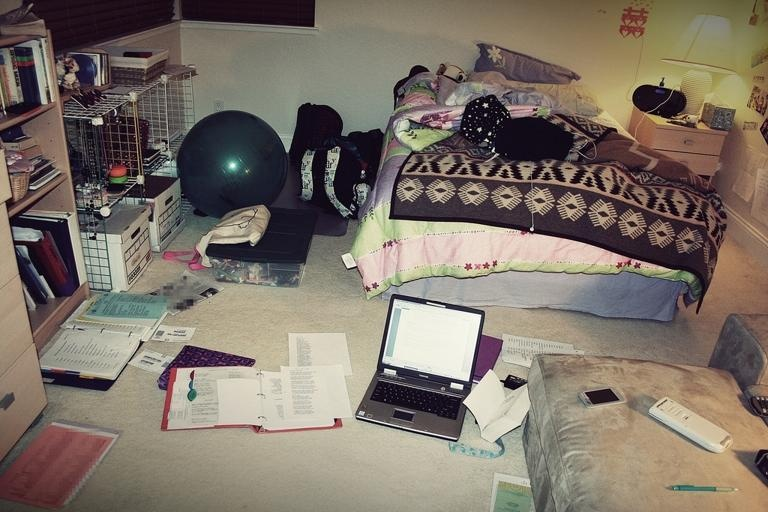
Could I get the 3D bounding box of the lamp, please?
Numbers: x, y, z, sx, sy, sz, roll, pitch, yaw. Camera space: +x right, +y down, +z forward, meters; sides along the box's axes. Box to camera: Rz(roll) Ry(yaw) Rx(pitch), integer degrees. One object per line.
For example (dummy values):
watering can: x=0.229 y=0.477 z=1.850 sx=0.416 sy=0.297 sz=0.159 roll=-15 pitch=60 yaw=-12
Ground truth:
lamp: x=3.047 y=-1.785 z=5.218 sx=0.662 sy=0.870 sz=0.654 roll=21 pitch=25 yaw=39

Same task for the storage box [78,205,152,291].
storage box: x=-1.679 y=-0.042 z=3.338 sx=0.276 sy=0.327 sz=0.474 roll=2 pitch=24 yaw=-2

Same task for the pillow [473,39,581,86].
pillow: x=1.285 y=-1.710 z=4.921 sx=0.689 sy=0.185 sz=0.582 roll=7 pitch=27 yaw=-16

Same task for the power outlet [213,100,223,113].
power outlet: x=-1.663 y=-1.509 z=5.436 sx=0.098 sy=0.107 sz=0.124 roll=-7 pitch=32 yaw=-23

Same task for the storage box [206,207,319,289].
storage box: x=-0.820 y=-0.076 z=3.706 sx=0.624 sy=0.306 sz=0.626 roll=6 pitch=29 yaw=-2

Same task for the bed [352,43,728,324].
bed: x=0.806 y=-0.619 z=4.046 sx=2.312 sy=0.641 sz=2.223 roll=-5 pitch=29 yaw=-10

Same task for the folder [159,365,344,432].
folder: x=-0.639 y=0.726 z=2.752 sx=0.906 sy=0.132 sz=0.367 roll=2 pitch=29 yaw=-9

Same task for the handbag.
handbag: x=-0.963 y=-0.096 z=3.611 sx=0.448 sy=0.141 sz=0.428 roll=-9 pitch=33 yaw=11

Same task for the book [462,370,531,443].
book: x=0.548 y=0.753 z=2.685 sx=0.277 sy=0.115 sz=0.325 roll=28 pitch=31 yaw=13

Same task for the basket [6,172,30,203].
basket: x=-1.827 y=-0.341 z=2.723 sx=0.150 sy=0.130 sz=0.172 roll=-3 pitch=11 yaw=-27

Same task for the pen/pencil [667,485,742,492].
pen/pencil: x=1.227 y=0.900 z=2.099 sx=0.219 sy=0.016 sz=0.022 roll=1 pitch=43 yaw=0

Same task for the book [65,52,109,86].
book: x=-1.836 y=-1.156 z=3.350 sx=0.251 sy=0.228 sz=0.148 roll=1 pitch=15 yaw=-13

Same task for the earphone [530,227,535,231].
earphone: x=0.880 y=-0.158 z=3.210 sx=0.019 sy=0.022 sz=0.006 roll=5 pitch=6 yaw=9

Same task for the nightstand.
nightstand: x=2.599 y=-1.055 z=5.043 sx=0.658 sy=0.497 sz=0.835 roll=2 pitch=27 yaw=-4

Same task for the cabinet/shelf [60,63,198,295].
cabinet/shelf: x=-1.780 y=-0.539 z=3.812 sx=0.538 sy=1.045 sz=1.411 roll=3 pitch=24 yaw=0

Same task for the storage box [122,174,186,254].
storage box: x=-1.671 y=-0.322 z=3.868 sx=0.308 sy=0.352 sz=0.500 roll=7 pitch=24 yaw=-2

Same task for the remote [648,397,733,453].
remote: x=1.272 y=0.703 z=2.273 sx=0.276 sy=0.054 sz=0.160 roll=27 pitch=35 yaw=36
